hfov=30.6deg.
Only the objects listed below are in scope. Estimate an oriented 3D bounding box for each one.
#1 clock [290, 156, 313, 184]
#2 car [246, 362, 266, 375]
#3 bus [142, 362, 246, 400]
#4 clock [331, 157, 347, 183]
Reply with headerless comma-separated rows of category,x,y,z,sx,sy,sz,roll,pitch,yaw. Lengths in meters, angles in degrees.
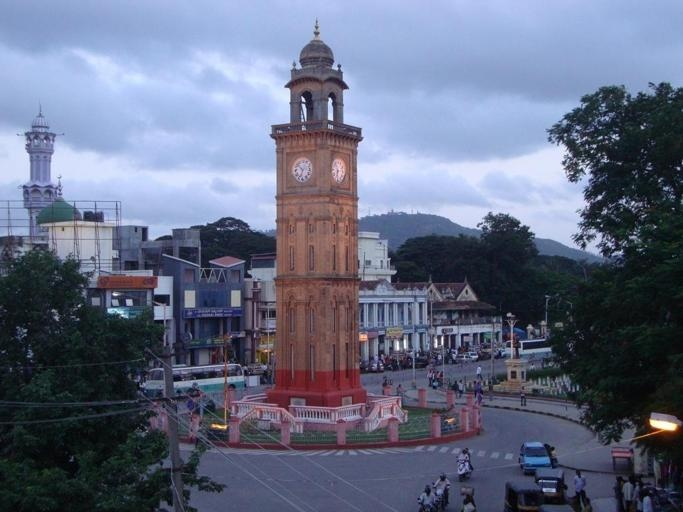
clock,-2.466,-5.294,78.054,1.651,1.671,0.191,-5,-1,41
car,-7.285,9.839,106.070,0.919,0.754,1.515,3,5,33
bus,-10.178,8.984,88.601,2.626,2.512,9.171,-10,-11,35
clock,-0.139,-5.273,78.541,0.244,1.621,1.449,-4,-6,28
